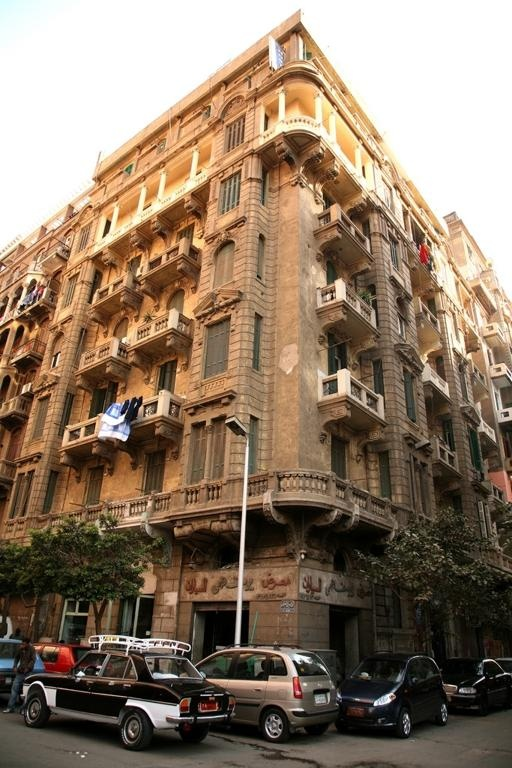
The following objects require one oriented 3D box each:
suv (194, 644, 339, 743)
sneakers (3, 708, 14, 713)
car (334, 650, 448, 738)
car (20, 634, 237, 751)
[{"bbox_3d":[0.091,5.833,10.193,2.970,1.325,1.620,-14,-38,33],"label":"suv"},{"bbox_3d":[-5.237,6.877,10.851,0.212,0.101,0.463,15,-32,-18],"label":"sneakers"},{"bbox_3d":[2.911,6.850,11.500,1.640,1.366,2.823,-23,-42,32],"label":"car"},{"bbox_3d":[-2.284,5.465,9.093,4.490,1.328,1.725,-21,-39,36],"label":"car"}]
